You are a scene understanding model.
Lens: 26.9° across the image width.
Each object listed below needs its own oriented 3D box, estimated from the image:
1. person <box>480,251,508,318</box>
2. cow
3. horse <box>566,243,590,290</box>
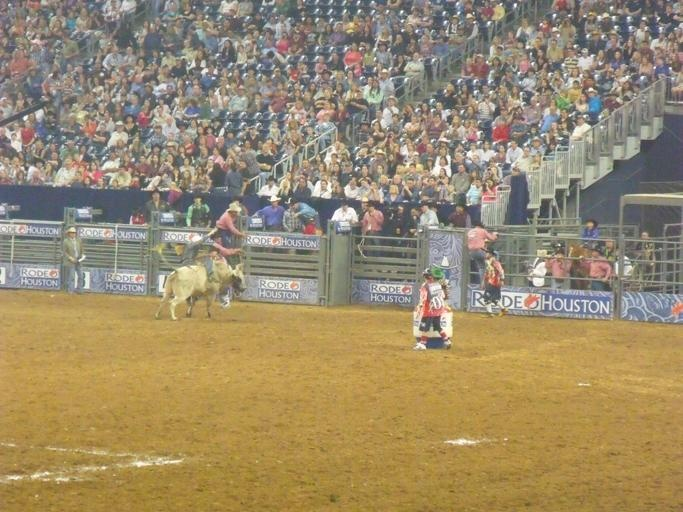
[{"bbox_3d":[4.423,0.796,41.127,0.724,1.706,0.593,5,9,17],"label":"person"},{"bbox_3d":[-4.239,0.723,39.515,1.901,2.055,1.976,11,10,41],"label":"cow"},{"bbox_3d":[6.914,0.336,41.547,0.682,1.312,1.059,2,0,-26],"label":"horse"}]
